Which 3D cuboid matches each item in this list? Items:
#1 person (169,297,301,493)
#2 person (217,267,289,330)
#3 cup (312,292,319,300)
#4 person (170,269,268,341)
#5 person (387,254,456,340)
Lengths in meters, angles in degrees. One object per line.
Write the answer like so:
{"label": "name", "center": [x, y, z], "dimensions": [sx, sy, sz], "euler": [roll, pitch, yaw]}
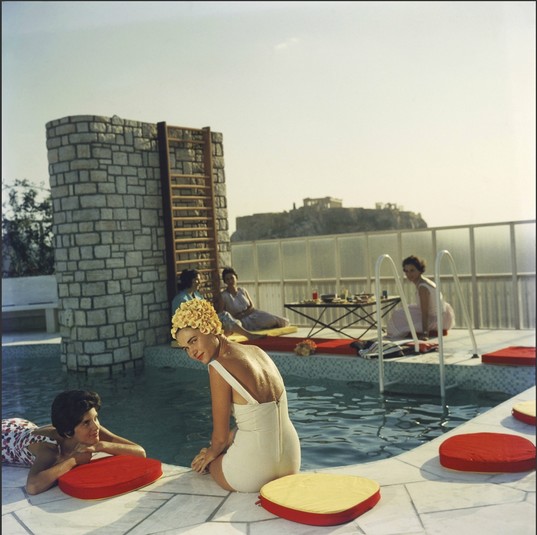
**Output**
{"label": "person", "center": [-0.156, 0.641, 2.975], "dimensions": [0.645, 0.879, 0.590], "euler": [-4, 2, -23]}
{"label": "person", "center": [-0.201, 0.490, 8.369], "dimensions": [1.174, 1.000, 0.654], "euler": [-1, 5, 32]}
{"label": "cup", "center": [0.617, 0.379, 7.604], "dimensions": [0.099, 0.097, 0.095], "euler": [0, 2, 0]}
{"label": "person", "center": [-0.548, 0.459, 7.565], "dimensions": [1.484, 0.940, 0.620], "euler": [1, 10, 8]}
{"label": "person", "center": [1.758, 0.359, 7.058], "dimensions": [0.789, 0.994, 0.829], "euler": [-2, 3, 38]}
